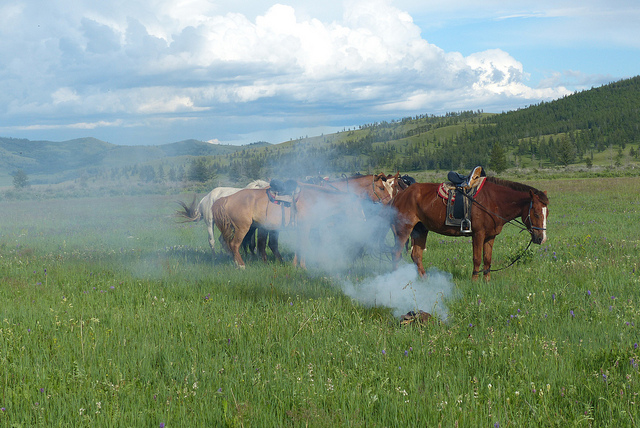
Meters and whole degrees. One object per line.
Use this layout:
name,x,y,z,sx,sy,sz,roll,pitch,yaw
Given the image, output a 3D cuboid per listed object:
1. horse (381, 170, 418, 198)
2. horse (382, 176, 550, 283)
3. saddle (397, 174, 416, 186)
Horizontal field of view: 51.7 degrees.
horse,3.364,-1.430,28.259,0.550,1.495,1.947,7,26,39
horse,5.125,0.640,24.440,6.374,4.382,1.882,4,5,30
saddle,3.681,-1.522,28.217,0.625,0.292,0.469,15,9,3
